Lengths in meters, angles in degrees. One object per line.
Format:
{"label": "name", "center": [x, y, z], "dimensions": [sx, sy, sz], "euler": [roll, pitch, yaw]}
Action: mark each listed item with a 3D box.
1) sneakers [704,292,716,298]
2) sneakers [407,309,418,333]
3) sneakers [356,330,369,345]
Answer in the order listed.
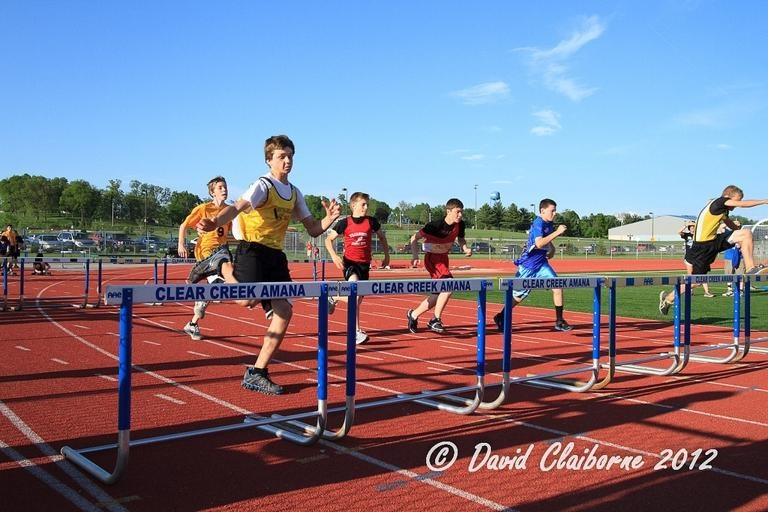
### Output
{"label": "sneakers", "center": [8.946, 1.099, 16.832], "dimensions": [0.330, 0.137, 0.128], "euler": [0, 5, -30]}
{"label": "sneakers", "center": [0.460, 1.125, 10.338], "dimensions": [0.153, 0.387, 0.146], "euler": [-6, 11, 23]}
{"label": "sneakers", "center": [-0.352, 1.258, 9.296], "dimensions": [0.131, 0.164, 0.352], "euler": [1, -4, -23]}
